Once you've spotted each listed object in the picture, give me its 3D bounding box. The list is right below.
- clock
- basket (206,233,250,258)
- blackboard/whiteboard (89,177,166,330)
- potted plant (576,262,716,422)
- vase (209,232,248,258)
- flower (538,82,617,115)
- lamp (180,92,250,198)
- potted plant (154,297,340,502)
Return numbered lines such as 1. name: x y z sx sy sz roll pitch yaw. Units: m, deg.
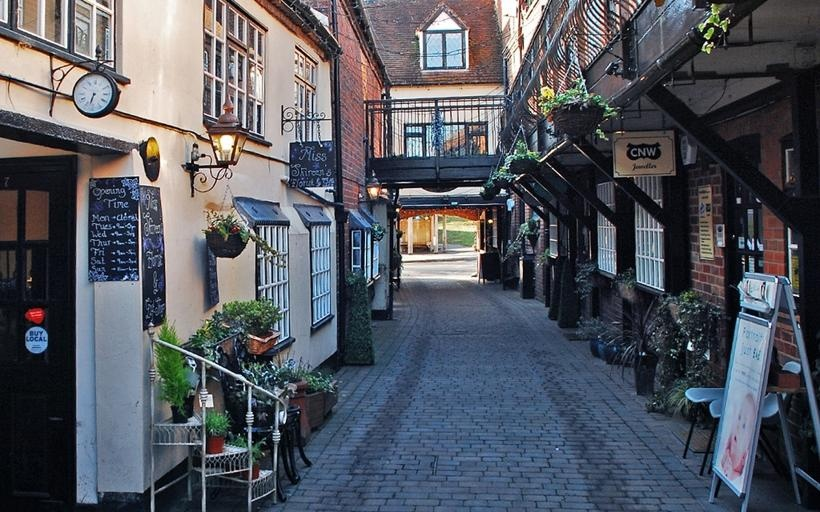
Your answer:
1. clock: -3.050 -1.594 6.432 0.666 0.668 0.121 1 -5 9
2. basket: -2.119 -0.070 7.998 0.316 0.228 0.330 0 -7 0
3. blackboard/whiteboard: -2.912 -0.025 7.111 0.727 1.561 0.348 -2 1 -27
4. potted plant: 3.632 1.334 10.417 1.447 1.704 1.902 -2 -2 12
5. vase: -2.118 -0.120 7.914 0.309 0.220 0.324 0 -8 3
6. flower: 2.048 -1.970 8.706 0.694 0.306 0.728 1 3 27
7. lamp: -2.193 -1.257 8.235 0.707 1.034 0.841 -2 1 6
8. potted plant: -1.936 1.725 8.005 0.823 1.533 2.172 0 0 1
